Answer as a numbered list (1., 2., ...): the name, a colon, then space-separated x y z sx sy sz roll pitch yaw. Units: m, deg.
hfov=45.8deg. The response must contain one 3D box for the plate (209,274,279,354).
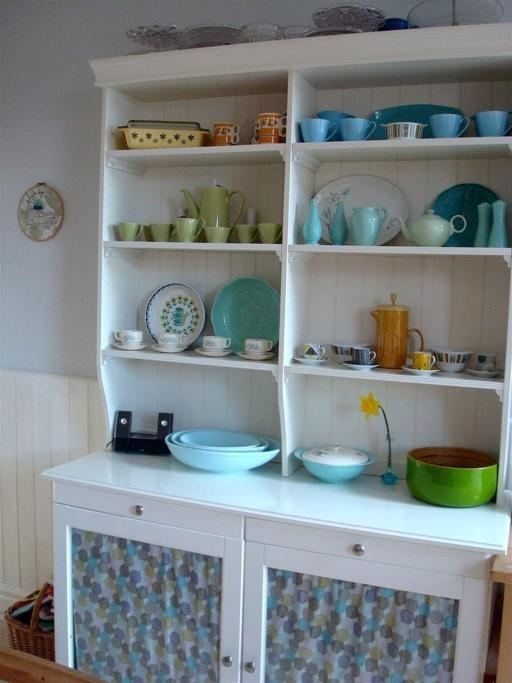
1. plate: -0.050 -0.096 2.041 0.256 0.239 0.051 13 15 30

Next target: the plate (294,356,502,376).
1. plate: 0.399 0.071 1.765 0.602 0.055 0.203 0 4 14

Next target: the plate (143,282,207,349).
1. plate: -0.291 -0.098 2.175 0.237 0.222 0.054 11 12 30

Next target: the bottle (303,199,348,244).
1. bottle: 0.211 -0.363 1.834 0.166 0.140 0.064 2 10 2

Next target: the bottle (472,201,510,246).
1. bottle: 0.644 -0.316 1.661 0.084 0.133 0.167 1 4 21

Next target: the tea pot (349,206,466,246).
1. tea pot: 0.416 -0.317 1.729 0.303 0.120 0.141 12 16 37

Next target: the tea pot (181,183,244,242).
1. tea pot: -0.137 -0.419 2.002 0.257 0.218 0.142 2 0 0

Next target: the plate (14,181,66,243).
1. plate: -0.881 -0.532 2.487 0.215 0.230 0.026 -24 -3 23

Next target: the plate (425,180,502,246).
1. plate: 0.606 -0.374 1.783 0.196 0.186 0.035 14 16 33

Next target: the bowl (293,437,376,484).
1. bowl: 0.232 0.383 1.864 0.235 0.091 0.231 -1 3 0
